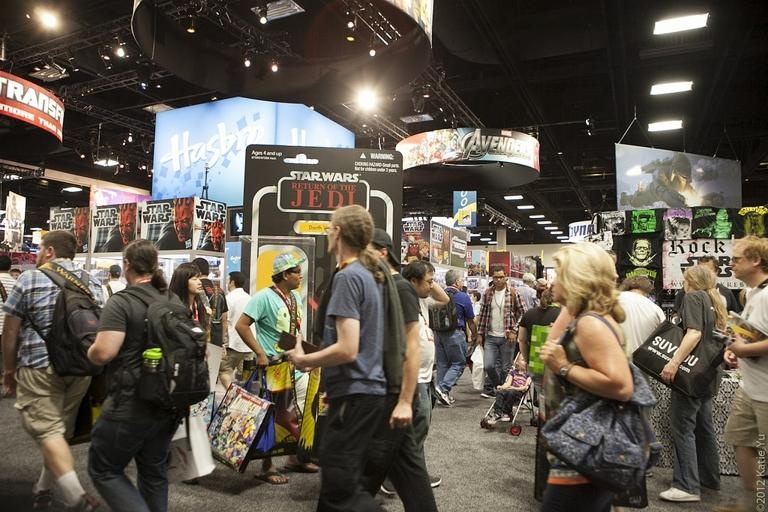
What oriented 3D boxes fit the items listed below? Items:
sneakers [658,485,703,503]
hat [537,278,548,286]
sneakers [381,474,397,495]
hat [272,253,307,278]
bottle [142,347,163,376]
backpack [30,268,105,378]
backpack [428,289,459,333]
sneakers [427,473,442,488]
[{"bbox_3d":[2.519,1.998,4.698,0.332,0.133,0.127,2,-19,9],"label":"sneakers"},{"bbox_3d":[1.946,0.335,6.769,0.110,0.117,0.151,5,9,2],"label":"hat"},{"bbox_3d":[0.047,1.983,4.865,0.114,0.145,0.339,3,-2,3],"label":"sneakers"},{"bbox_3d":[-0.839,0.068,4.851,0.255,0.147,0.171,-14,17,-3],"label":"hat"},{"bbox_3d":[-1.505,0.678,3.595,0.130,0.164,0.045,2,-2,11],"label":"bottle"},{"bbox_3d":[-2.403,0.500,4.227,0.536,0.626,0.245,2,-2,19],"label":"backpack"},{"bbox_3d":[0.792,0.751,7.587,0.330,0.613,0.424,-6,0,-41],"label":"backpack"},{"bbox_3d":[0.452,1.970,4.884,0.102,0.073,0.201,2,-2,5],"label":"sneakers"}]
